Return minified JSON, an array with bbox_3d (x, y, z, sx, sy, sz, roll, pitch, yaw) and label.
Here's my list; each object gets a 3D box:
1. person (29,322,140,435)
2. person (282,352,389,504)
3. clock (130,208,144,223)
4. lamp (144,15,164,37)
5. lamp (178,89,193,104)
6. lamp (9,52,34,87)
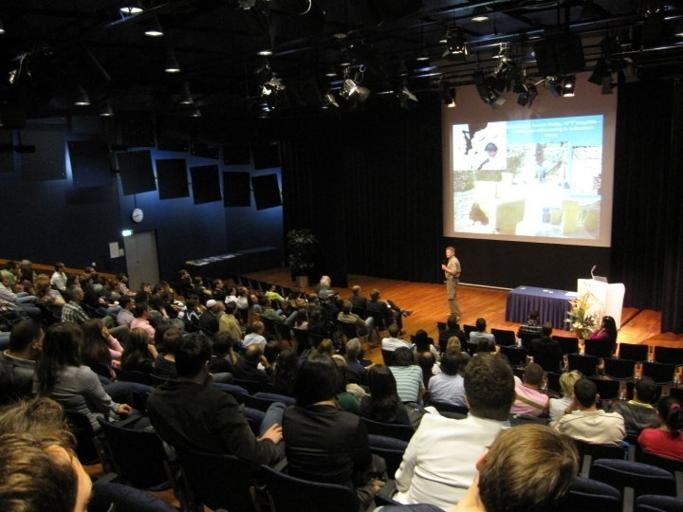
[{"bbox_3d":[-1.943,0.930,3.925,0.469,0.988,0.651,12,25,8],"label":"person"},{"bbox_3d":[-0.056,1.081,3.177,0.608,0.934,0.336,1,2,3],"label":"person"},{"bbox_3d":[-5.890,-1.162,14.952,0.090,0.450,0.401,2,2,27],"label":"clock"},{"bbox_3d":[-2.346,-2.882,6.492,0.167,0.272,0.376,0,2,-16],"label":"lamp"},{"bbox_3d":[-3.138,-3.097,10.159,0.245,0.237,0.428,-4,0,-22],"label":"lamp"},{"bbox_3d":[-4.780,-2.765,7.695,0.268,0.342,0.803,-1,2,-36],"label":"lamp"}]
